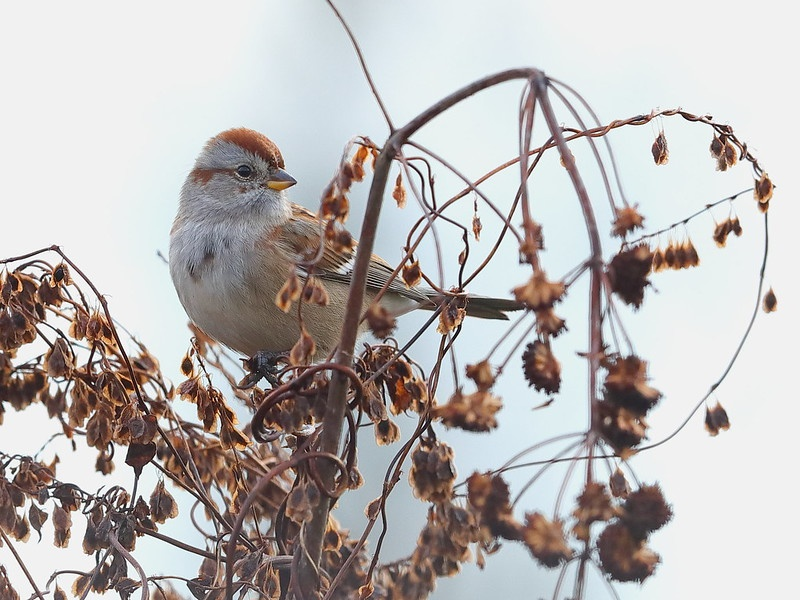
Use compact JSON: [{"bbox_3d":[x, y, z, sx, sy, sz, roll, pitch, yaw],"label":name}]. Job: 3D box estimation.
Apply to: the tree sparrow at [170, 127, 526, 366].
[{"bbox_3d":[-0.251,-0.206,7.099,1.662,1.193,0.774,3,-7,-2],"label":"tree sparrow"}]
